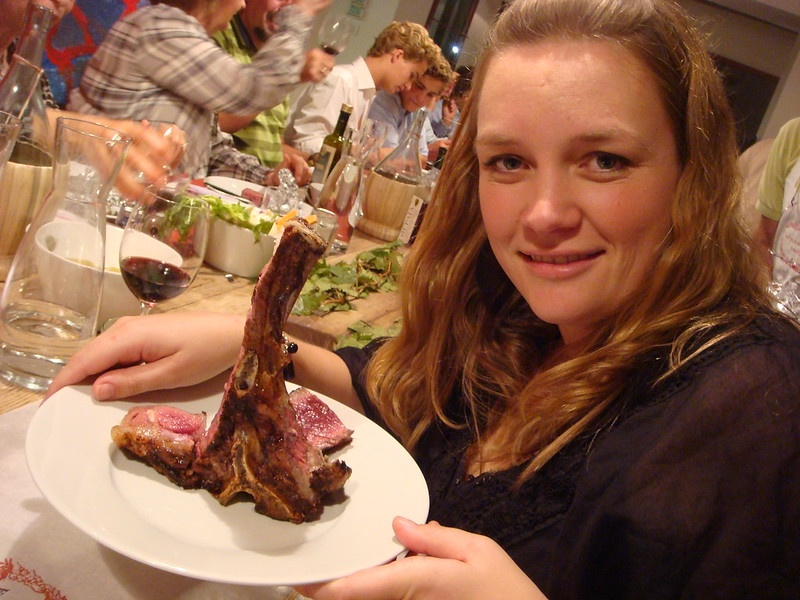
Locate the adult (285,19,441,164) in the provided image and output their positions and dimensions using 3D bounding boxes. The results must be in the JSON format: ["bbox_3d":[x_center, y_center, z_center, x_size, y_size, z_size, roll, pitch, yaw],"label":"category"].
[{"bbox_3d":[-0.132,-2.068,6.773,1.021,1.705,1.059,28,-9,-38],"label":"adult"}]

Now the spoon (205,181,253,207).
[{"bbox_3d":[-0.757,-0.484,2.770,0.197,0.057,0.266,1,28,-31],"label":"spoon"}]

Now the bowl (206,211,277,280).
[{"bbox_3d":[-0.534,-0.162,2.052,0.228,0.122,0.233,28,-1,1],"label":"bowl"}]

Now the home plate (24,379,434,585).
[{"bbox_3d":[-0.282,0.299,1.076,0.684,0.102,0.433,17,12,-15],"label":"home plate"}]

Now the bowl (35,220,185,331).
[{"bbox_3d":[-0.723,-0.067,1.567,0.230,0.185,0.259,20,11,1],"label":"bowl"}]
